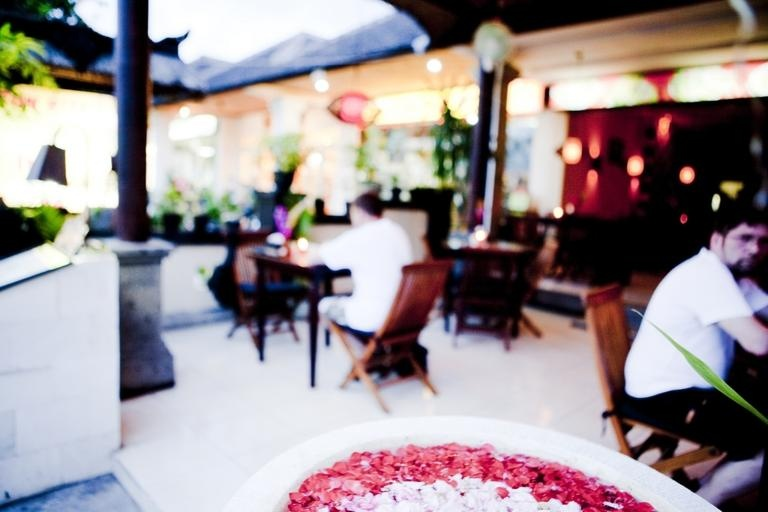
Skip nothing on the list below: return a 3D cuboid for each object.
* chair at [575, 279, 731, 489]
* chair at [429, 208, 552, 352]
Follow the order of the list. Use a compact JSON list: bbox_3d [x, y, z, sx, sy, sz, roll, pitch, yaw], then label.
[{"bbox_3d":[2.194,1.078,4.291,1.258,1.507,1.157,1,4,21],"label":"chair"},{"bbox_3d":[1.428,0.298,7.106,1.558,1.404,1.325,0,5,0],"label":"chair"}]
